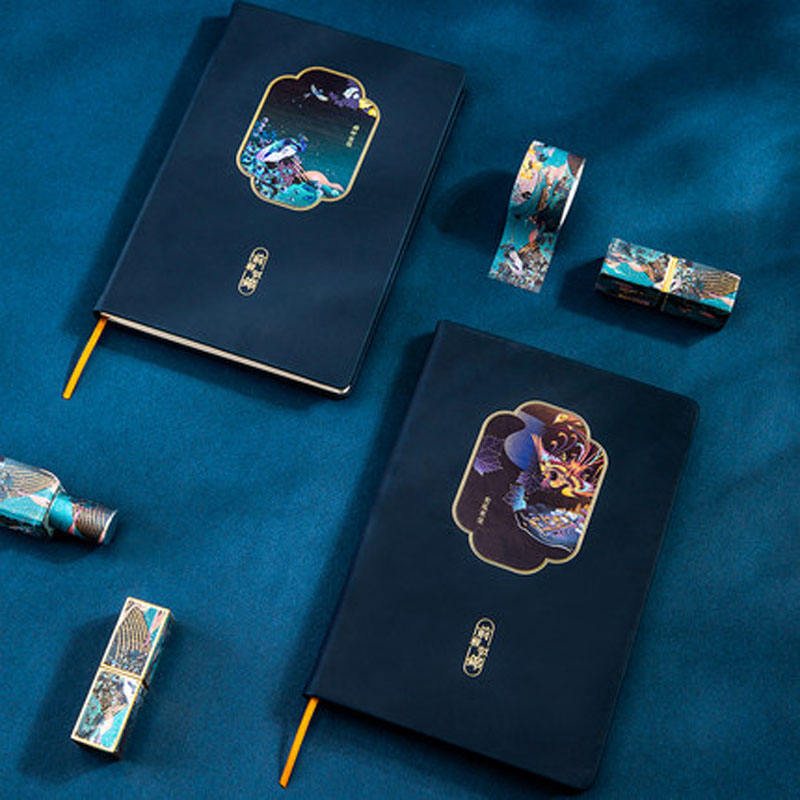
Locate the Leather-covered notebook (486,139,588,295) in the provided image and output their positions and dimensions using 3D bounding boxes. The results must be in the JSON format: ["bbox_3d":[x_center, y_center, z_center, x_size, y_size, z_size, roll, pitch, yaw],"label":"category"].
[{"bbox_3d":[0.189,-0.259,1.295,0.118,0.080,0.228,22,93,5],"label":"Leather-covered notebook"}]
